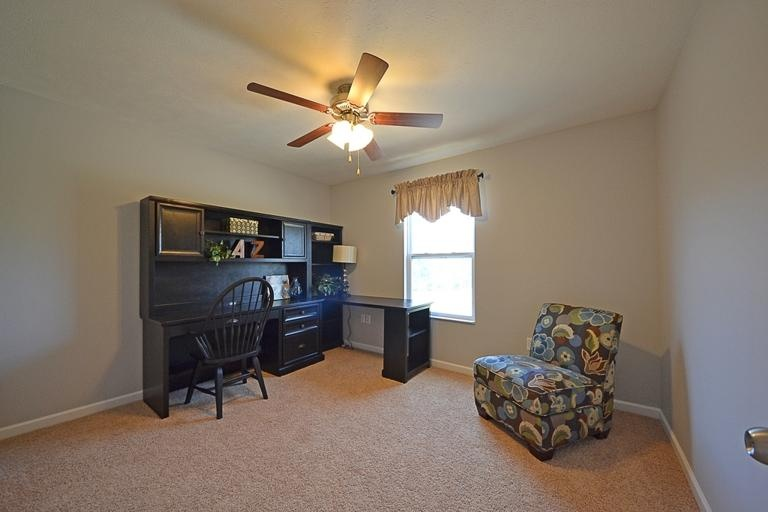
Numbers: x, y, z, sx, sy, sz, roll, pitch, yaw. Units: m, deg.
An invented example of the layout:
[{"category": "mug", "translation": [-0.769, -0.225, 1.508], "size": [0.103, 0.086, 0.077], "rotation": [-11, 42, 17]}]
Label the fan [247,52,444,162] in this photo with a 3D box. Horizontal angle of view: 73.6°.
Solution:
[{"category": "fan", "translation": [-0.326, -1.331, 4.498], "size": [1.112, 0.405, 1.041], "rotation": [16, 23, 24]}]

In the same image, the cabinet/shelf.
[{"category": "cabinet/shelf", "translation": [-1.472, 0.462, 5.728], "size": [0.605, 1.917, 2.277], "rotation": [2, 2, 43]}]

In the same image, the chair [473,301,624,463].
[{"category": "chair", "translation": [1.456, 1.063, 4.711], "size": [1.103, 1.084, 1.024], "rotation": [-4, 8, -39]}]
